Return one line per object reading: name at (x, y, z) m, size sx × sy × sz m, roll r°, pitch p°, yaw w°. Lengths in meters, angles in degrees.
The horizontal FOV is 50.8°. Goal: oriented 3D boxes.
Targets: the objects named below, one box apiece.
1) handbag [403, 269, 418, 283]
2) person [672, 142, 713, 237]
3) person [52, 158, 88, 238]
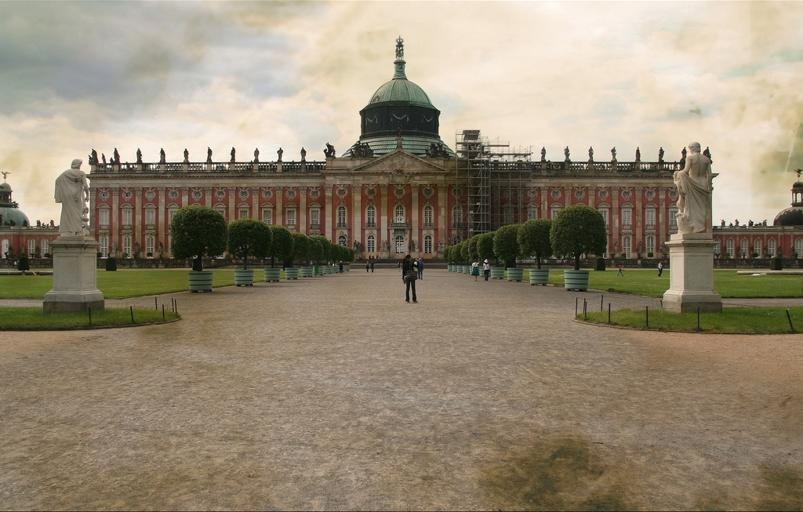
handbag at (0.288, 0.665, 27.154) m, size 0.451 × 0.328 × 0.298 m, roll -4°, pitch 0°, yaw 1°
person at (7.500, -1.730, 21.864) m, size 0.874 × 2.301 × 0.773 m, roll -1°, pitch 1°, yaw 15°
person at (-8.762, -1.544, 22.603) m, size 0.793 × 1.576 × 1.071 m, roll -1°, pitch 1°, yaw -20°
